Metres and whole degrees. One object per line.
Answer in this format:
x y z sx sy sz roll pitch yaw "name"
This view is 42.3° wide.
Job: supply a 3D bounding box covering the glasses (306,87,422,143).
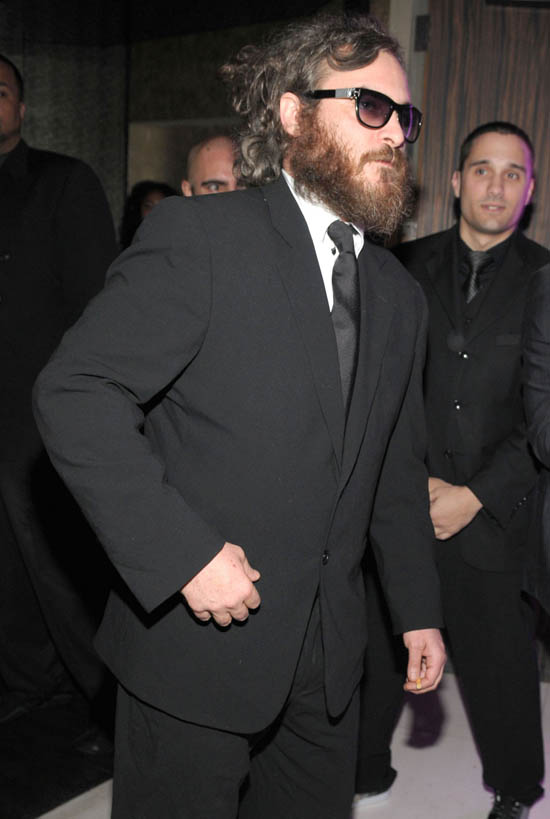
0.152 -0.499 1.181 0.141 0.045 0.143 -2 -11 35 "glasses"
